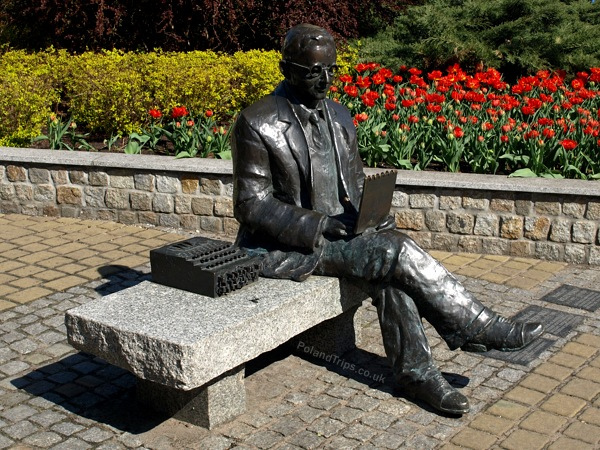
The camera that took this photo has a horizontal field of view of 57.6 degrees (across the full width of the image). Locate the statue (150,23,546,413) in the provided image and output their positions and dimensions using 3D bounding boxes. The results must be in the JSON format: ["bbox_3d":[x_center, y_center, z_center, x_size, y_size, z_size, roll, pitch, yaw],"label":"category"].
[{"bbox_3d":[0.256,-0.156,3.810,2.750,2.191,1.451,10,24,20],"label":"statue"}]

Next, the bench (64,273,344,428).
[{"bbox_3d":[-0.439,0.737,3.738,0.957,0.531,1.960,3,7,30],"label":"bench"}]

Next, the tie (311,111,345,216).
[{"bbox_3d":[0.177,-0.445,3.763,0.249,0.782,0.072,-4,20,9],"label":"tie"}]
